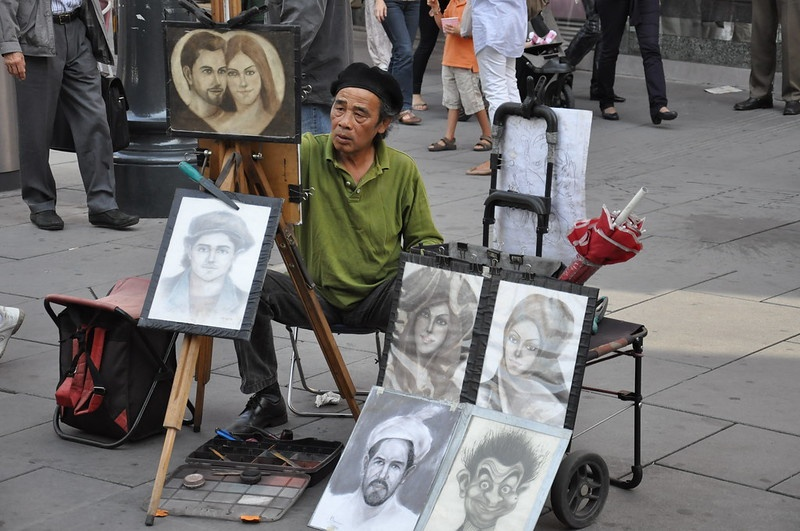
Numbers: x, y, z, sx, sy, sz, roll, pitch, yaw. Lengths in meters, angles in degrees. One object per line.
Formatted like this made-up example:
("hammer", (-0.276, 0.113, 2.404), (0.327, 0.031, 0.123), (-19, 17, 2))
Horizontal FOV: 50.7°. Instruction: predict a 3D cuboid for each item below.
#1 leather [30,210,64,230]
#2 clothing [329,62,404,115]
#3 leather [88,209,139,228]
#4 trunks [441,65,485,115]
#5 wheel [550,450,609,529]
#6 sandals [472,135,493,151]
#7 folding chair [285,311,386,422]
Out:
("leather", (-3.293, -0.414, 7.854), (0.374, 0.135, 0.149), (7, 13, 42))
("clothing", (-0.163, -0.991, 4.626), (0.301, 0.121, 0.344), (12, -12, 45))
("leather", (-2.690, -0.428, 7.964), (0.521, 0.185, 0.181), (1, 15, 10))
("trunks", (0.777, -2.088, 9.999), (0.617, 0.639, 0.380), (13, 29, 43))
("wheel", (0.858, 1.071, 4.012), (0.120, 0.335, 0.358), (4, 20, 30))
("sandals", (1.018, -1.456, 10.144), (0.238, 0.196, 0.525), (3, 9, 22))
("folding chair", (-0.391, 0.588, 5.160), (0.568, 0.476, 0.465), (-5, -1, 19))
